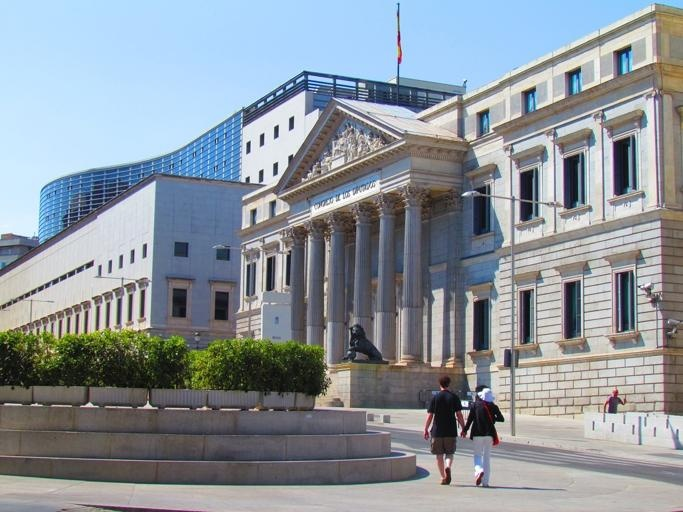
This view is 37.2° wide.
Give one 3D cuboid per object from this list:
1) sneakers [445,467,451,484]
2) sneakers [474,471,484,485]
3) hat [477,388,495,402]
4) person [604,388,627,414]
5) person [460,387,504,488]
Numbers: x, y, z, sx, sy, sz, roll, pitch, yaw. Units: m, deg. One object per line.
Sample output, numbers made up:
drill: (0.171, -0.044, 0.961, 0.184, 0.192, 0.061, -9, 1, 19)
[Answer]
sneakers: (2.727, 5.607, 25.864, 0.154, 0.399, 0.168, -1, -4, 2)
sneakers: (3.519, 5.636, 25.716, 0.210, 0.358, 0.289, -2, -13, 6)
hat: (3.686, 3.548, 25.809, 0.357, 0.370, 0.783, -1, -13, 5)
person: (12.299, 6.445, 45.512, 0.960, 1.289, 2.531, -4, -14, 15)
person: (3.617, 4.583, 25.886, 0.935, 2.520, 1.374, -2, -14, 9)
